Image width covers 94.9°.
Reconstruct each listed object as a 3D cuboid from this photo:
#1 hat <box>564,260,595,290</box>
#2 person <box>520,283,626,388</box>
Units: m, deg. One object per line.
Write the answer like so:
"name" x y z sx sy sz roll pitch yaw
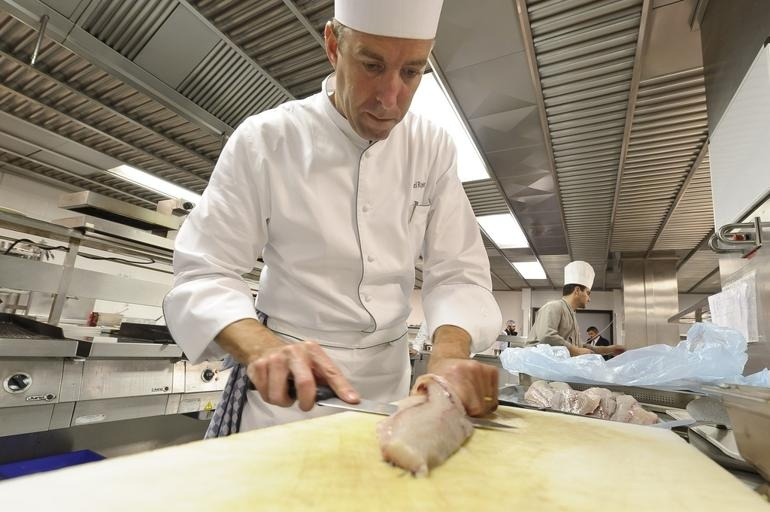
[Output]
"hat" 2.641 0.284 4.817 0.372 0.319 0.433 -4 -30 30
"person" 2.207 0.831 4.166 1.125 1.080 0.718 8 -9 16
